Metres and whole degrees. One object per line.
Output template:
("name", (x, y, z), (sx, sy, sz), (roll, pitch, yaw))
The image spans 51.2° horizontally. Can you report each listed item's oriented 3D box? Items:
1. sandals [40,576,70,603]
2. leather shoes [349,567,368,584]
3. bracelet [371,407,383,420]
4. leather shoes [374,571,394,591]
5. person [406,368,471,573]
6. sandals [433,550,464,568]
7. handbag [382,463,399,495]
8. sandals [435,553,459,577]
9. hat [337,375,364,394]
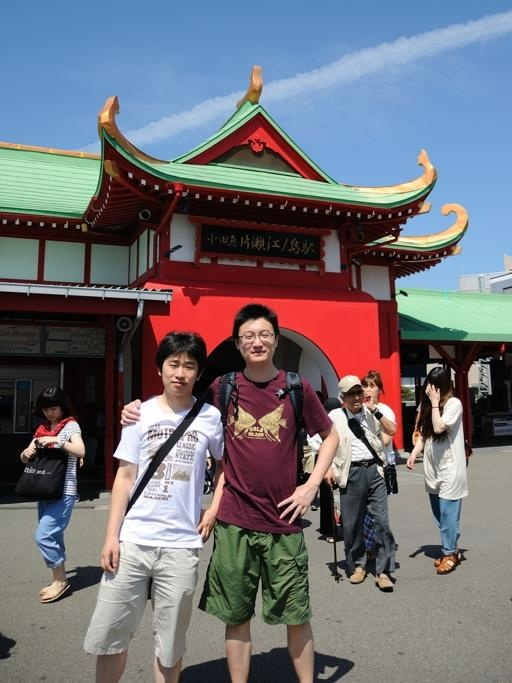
("sandals", (-1.514, 1.883, 4.019), (0.205, 0.126, 0.215), (0, -2, -24))
("leather shoes", (0.828, 1.952, 4.398), (0.104, 0.101, 0.197), (-3, -3, 32))
("bracelet", (1.038, 0.621, 4.561), (0.037, 0.087, 0.065), (-13, -32, -45))
("leather shoes", (1.022, 1.919, 4.231), (0.130, 0.097, 0.212), (-2, -2, 6))
("person", (1.612, 1.130, 4.769), (0.478, 1.789, 0.415), (-2, -3, 20))
("sandals", (1.763, 2.014, 4.888), (0.140, 0.190, 0.474), (-12, -31, 25))
("handbag", (1.140, 1.168, 4.564), (0.169, 0.329, 0.083), (1, -3, -18))
("sandals", (1.636, 1.934, 4.602), (0.102, 0.131, 0.314), (-23, -38, 31))
("hat", (0.785, 0.363, 4.556), (0.145, 0.107, 0.199), (-2, -14, -8))
